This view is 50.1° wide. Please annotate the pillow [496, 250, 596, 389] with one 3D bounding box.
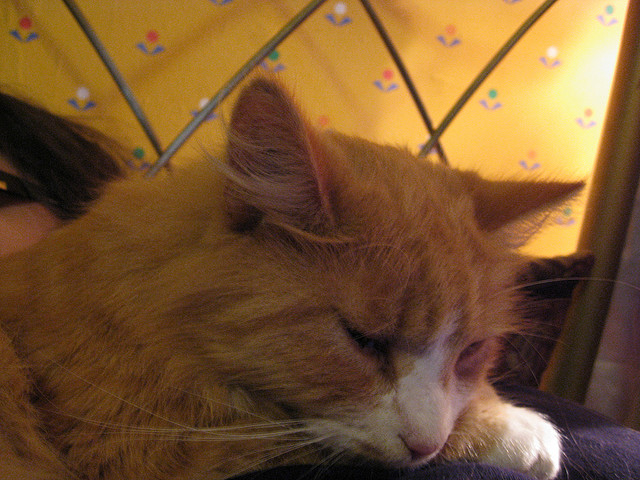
[{"bbox_3d":[0.356,0.103,1.167,0.068,0.227,0.191,23,7,39],"label":"pillow"}]
